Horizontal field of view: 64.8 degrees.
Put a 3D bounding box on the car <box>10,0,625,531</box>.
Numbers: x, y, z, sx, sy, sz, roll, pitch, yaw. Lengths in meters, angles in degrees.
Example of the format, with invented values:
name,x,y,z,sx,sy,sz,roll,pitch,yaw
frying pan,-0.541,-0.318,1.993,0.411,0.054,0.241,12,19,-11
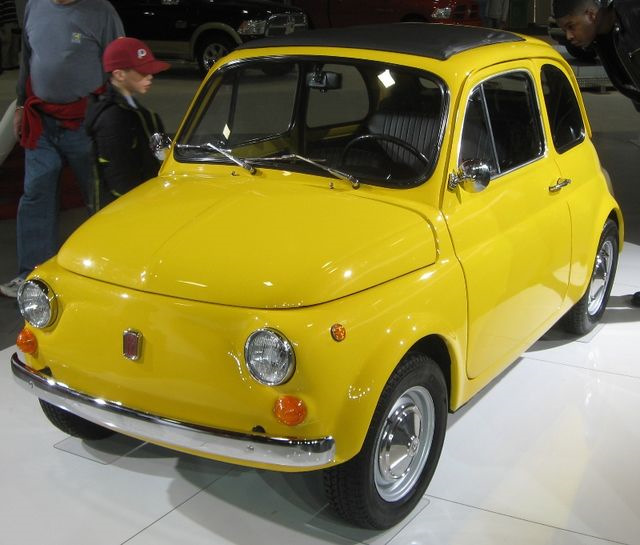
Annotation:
name,x,y,z,sx,sy,sz,roll,pitch,yaw
car,0.438,-0.194,3.194,1.959,1.833,3.776,9,20,31

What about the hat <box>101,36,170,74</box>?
name,x,y,z,sx,sy,sz,roll,pitch,yaw
hat,-1.152,-1.322,3.102,0.349,0.195,0.234,-4,23,-5
